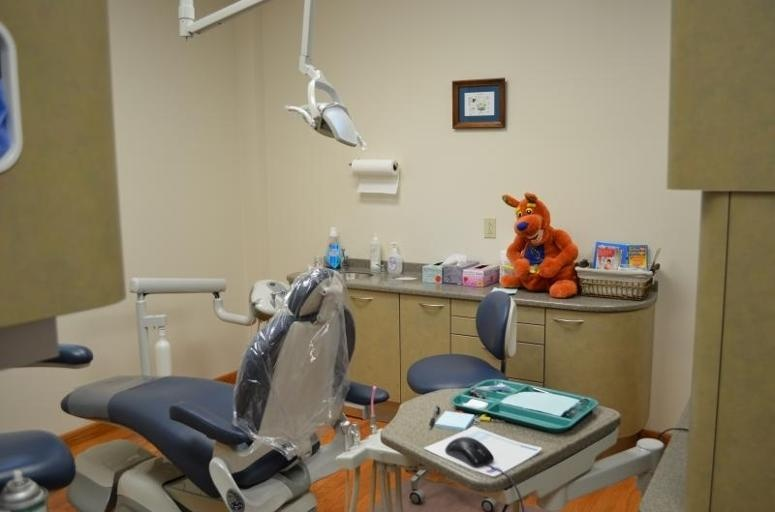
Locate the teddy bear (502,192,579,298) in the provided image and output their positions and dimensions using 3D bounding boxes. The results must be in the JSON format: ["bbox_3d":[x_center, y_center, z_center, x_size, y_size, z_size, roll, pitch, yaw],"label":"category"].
[{"bbox_3d":[0.793,-0.049,3.253,0.417,0.543,0.394,0,4,37],"label":"teddy bear"}]

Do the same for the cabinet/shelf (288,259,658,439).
[{"bbox_3d":[0.515,0.474,3.495,1.870,0.765,0.552,3,22,32],"label":"cabinet/shelf"}]

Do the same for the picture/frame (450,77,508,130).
[{"bbox_3d":[0.534,-0.870,3.522,0.287,0.277,0.032,0,2,27],"label":"picture/frame"}]

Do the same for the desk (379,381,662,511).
[{"bbox_3d":[0.366,0.579,1.762,0.760,0.234,0.518,2,5,25],"label":"desk"}]

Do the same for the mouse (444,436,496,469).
[{"bbox_3d":[0.215,0.515,1.637,0.133,0.050,0.066,3,5,38],"label":"mouse"}]
